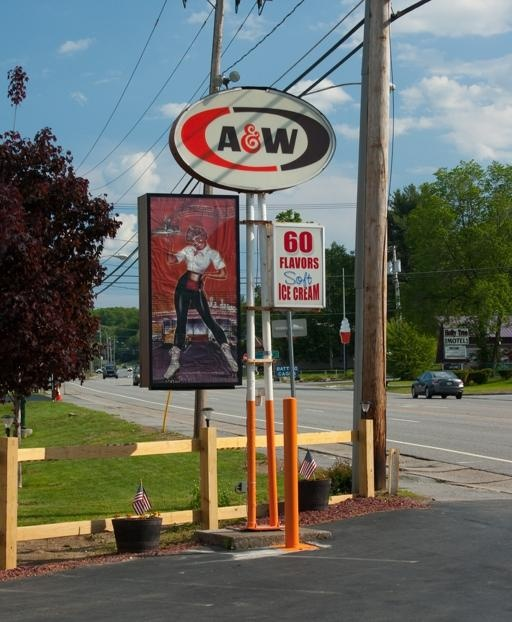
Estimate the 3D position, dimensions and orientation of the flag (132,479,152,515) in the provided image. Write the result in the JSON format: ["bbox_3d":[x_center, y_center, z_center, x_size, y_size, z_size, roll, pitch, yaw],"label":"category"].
[{"bbox_3d":[-1.172,1.910,12.365,0.174,0.347,0.498,0,-4,-6],"label":"flag"}]

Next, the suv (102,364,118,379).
[{"bbox_3d":[-12.726,5.086,105.893,1.468,1.150,2.346,2,-20,-7],"label":"suv"}]
